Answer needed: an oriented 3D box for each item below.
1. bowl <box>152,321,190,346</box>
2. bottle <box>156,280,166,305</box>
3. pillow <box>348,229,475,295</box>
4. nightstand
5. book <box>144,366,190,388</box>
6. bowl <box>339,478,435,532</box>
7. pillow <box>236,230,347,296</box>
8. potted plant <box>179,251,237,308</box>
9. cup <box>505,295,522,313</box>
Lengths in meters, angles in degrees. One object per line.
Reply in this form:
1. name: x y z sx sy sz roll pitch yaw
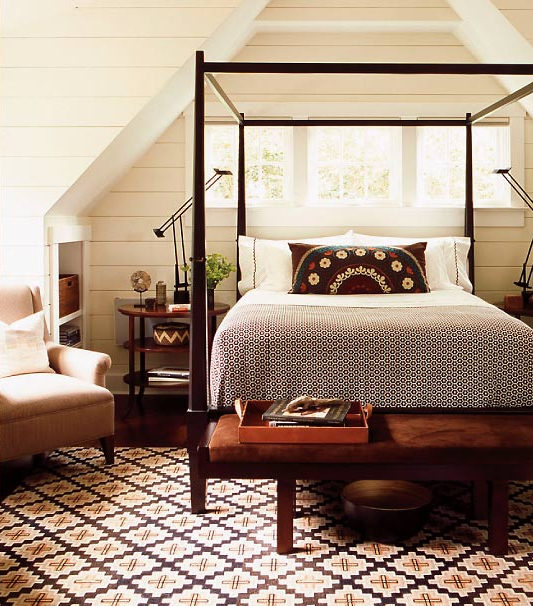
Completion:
1. bowl: -0.607 0.208 3.689 0.218 0.129 0.218 0 4 0
2. bottle: -0.701 -0.060 3.824 0.065 0.128 0.165 0 6 -3
3. pillow: 0.888 -0.238 3.508 0.518 0.277 0.167 0 -2 41
4. nightstand: -0.645 0.319 3.872 0.857 0.638 0.733 2 9 4
5. book: -0.634 0.480 3.637 0.287 0.099 0.280 0 4 -5
6. bowl: 0.425 0.746 2.103 0.287 0.093 0.283 0 6 0
7. pillow: 0.150 -0.230 3.538 0.542 0.345 0.168 0 5 0
8. potted plant: -0.321 -0.192 3.833 0.503 0.417 0.371 0 6 7
9. cup: 1.569 0.016 3.661 0.105 0.109 0.178 1 3 12
